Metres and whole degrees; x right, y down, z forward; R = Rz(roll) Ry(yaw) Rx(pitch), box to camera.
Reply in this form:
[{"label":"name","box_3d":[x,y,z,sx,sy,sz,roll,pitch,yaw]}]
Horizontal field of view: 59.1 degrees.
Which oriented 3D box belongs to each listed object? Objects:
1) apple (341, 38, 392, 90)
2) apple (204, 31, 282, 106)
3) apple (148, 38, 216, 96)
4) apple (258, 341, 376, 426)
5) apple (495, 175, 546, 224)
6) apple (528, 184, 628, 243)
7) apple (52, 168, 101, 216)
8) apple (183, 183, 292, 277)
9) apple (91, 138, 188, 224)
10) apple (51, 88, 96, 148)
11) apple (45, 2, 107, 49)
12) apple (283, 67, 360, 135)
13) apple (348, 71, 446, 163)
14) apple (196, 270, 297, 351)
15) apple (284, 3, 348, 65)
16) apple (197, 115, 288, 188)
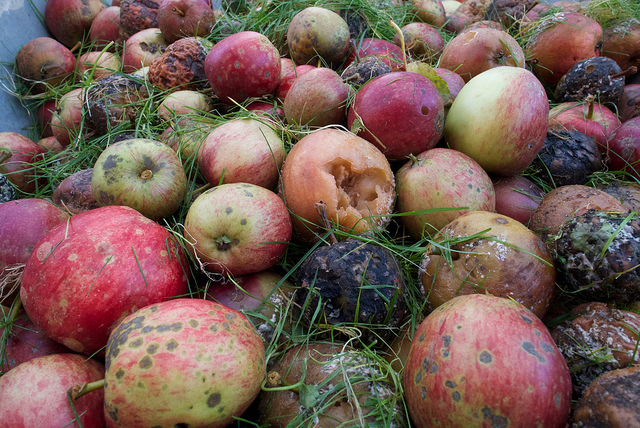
[{"label":"apple","box_3d":[0.257,-0.812,3.155,0.208,0.218,0.308,-30,94,6]},{"label":"apple","box_3d":[-0.450,-0.786,3.110,0.350,0.362,0.418,27,102,-1]},{"label":"apple","box_3d":[-0.751,-0.847,3.347,0.277,0.365,0.389,-9,24,15]},{"label":"apple","box_3d":[-0.040,0.782,2.361,0.343,0.217,0.422,-24,52,20]},{"label":"apple","box_3d":[0.995,-0.104,2.866,0.174,0.249,0.209,-18,106,-1]},{"label":"apple","box_3d":[1.162,-0.021,2.614,0.244,0.325,0.204,-4,89,-18]},{"label":"apple","box_3d":[-1.193,-0.087,2.862,0.176,0.130,0.247,-26,57,26]},{"label":"apple","box_3d":[-0.355,0.027,2.739,0.433,0.419,0.487,1,30,4]},{"label":"apple","box_3d":[-0.841,-0.178,2.656,0.365,0.384,0.428,2,90,-25]},{"label":"apple","box_3d":[-1.409,-0.544,3.240,0.214,0.280,0.246,5,61,16]},{"label":"apple","box_3d":[-1.634,-1.308,3.864,0.336,0.323,0.294,19,27,33]},{"label":"apple","box_3d":[0.018,-0.544,3.029,0.360,0.339,0.332,-20,77,2]},{"label":"apple","box_3d":[0.439,-0.500,2.885,0.377,0.496,0.418,-17,20,-10]},{"label":"apple","box_3d":[-0.331,0.510,2.549,0.333,0.393,0.375,-14,73,41]},{"label":"apple","box_3d":[-0.023,-1.081,3.244,0.324,0.349,0.357,-6,61,-3]},{"label":"apple","box_3d":[-0.377,-0.298,2.758,0.375,0.354,0.401,-1,78,-17]}]
